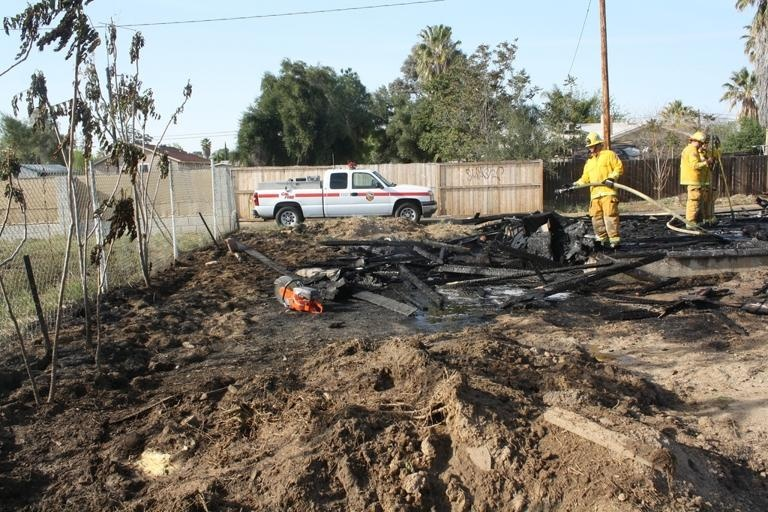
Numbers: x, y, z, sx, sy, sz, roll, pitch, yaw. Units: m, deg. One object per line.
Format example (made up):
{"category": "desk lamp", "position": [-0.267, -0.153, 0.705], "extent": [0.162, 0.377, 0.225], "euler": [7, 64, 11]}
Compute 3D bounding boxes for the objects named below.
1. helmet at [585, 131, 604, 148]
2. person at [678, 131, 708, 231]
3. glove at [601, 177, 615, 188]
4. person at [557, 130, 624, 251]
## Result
{"category": "helmet", "position": [4.276, -2.369, 13.440], "extent": [0.272, 0.194, 0.365], "euler": [-12, 13, 40]}
{"category": "person", "position": [6.410, -1.600, 13.701], "extent": [0.501, 1.874, 0.670], "euler": [1, 7, 25]}
{"category": "glove", "position": [4.333, -1.421, 12.843], "extent": [0.232, 0.177, 0.183], "euler": [-1, 6, 11]}
{"category": "person", "position": [4.336, -1.347, 13.289], "extent": [0.800, 2.311, 1.192], "euler": [0, 6, 17]}
